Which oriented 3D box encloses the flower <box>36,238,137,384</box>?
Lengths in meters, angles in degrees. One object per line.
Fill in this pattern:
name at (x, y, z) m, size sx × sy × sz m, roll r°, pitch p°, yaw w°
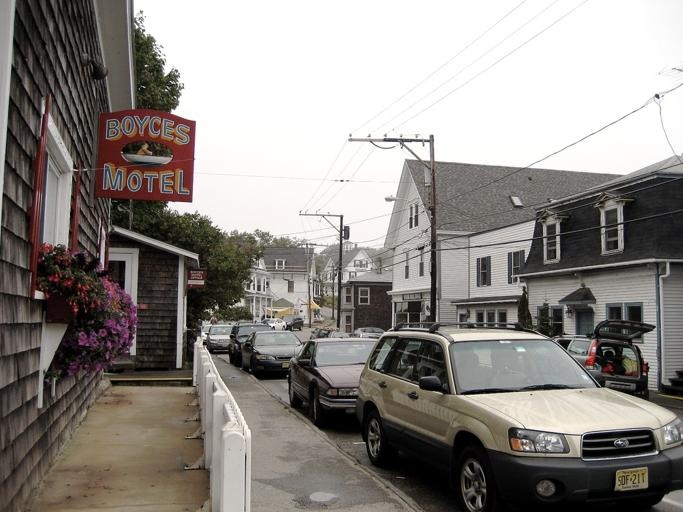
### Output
flower at (-3.102, 0.679, 7.611) m, size 0.877 × 1.528 × 1.896 m, roll -5°, pitch -3°, yaw -18°
